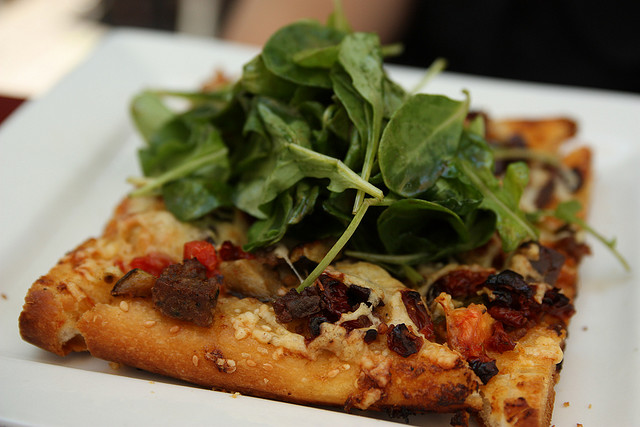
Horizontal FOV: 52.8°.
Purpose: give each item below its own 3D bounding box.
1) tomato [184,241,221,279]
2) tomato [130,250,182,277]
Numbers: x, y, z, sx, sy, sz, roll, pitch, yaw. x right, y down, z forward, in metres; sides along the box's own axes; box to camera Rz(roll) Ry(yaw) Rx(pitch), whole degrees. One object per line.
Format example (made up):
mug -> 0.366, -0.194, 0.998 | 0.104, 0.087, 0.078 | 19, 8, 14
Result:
tomato -> -0.821, 0.244, 4.355 | 0.275, 0.132, 0.326 | 9, 13, -11
tomato -> -1.121, 0.307, 4.282 | 0.203, 0.081, 0.205 | 16, 20, 39
